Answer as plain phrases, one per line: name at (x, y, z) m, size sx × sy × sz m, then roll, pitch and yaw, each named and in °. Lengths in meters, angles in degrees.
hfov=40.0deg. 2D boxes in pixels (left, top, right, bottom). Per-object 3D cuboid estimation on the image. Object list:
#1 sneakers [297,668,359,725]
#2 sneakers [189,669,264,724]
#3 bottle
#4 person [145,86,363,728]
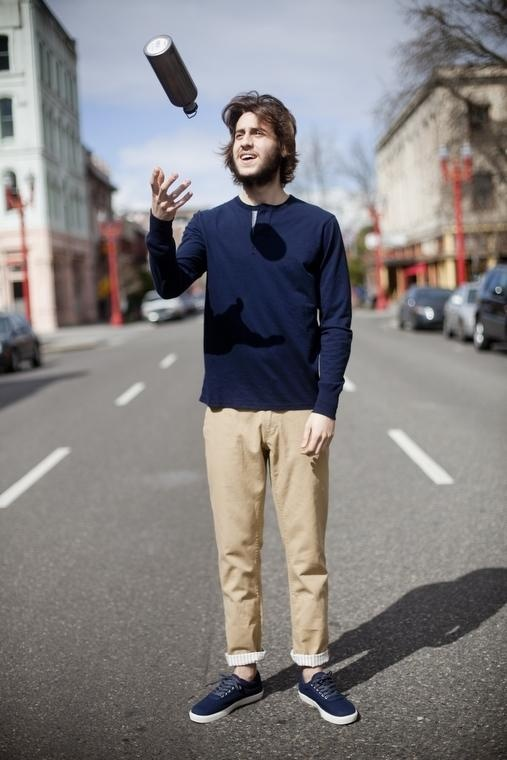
sneakers at (0.208, 0.879, 1.964) m, size 0.084 × 0.101 × 0.244 m, roll -1°, pitch -2°, yaw -29°
sneakers at (-0.074, 0.875, 1.970) m, size 0.074 × 0.083 × 0.216 m, roll 3°, pitch 4°, yaw 43°
bottle at (-0.215, -0.816, 1.934) m, size 0.119 × 0.203 × 0.334 m, roll 1°, pitch 5°, yaw 5°
person at (0.001, 0.043, 2.044) m, size 0.590 × 1.766 × 0.459 m, roll 1°, pitch 4°, yaw 1°
